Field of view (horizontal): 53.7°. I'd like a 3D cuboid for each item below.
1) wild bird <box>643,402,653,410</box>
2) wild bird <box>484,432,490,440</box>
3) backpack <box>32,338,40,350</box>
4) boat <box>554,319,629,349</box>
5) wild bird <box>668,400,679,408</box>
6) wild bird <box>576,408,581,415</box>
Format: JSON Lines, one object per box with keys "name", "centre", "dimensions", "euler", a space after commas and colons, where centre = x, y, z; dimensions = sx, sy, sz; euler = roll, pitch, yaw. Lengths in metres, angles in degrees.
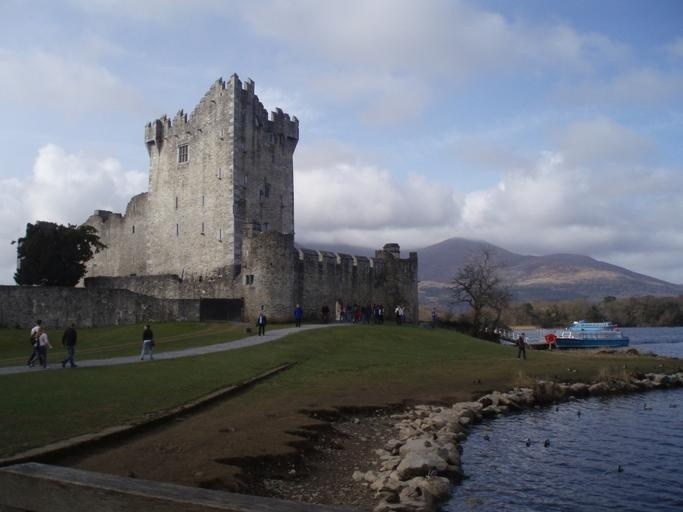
{"name": "wild bird", "centre": [15.683, 7.636, 34.629], "dimensions": [0.264, 0.370, 0.895], "euler": [-5, -9, 26]}
{"name": "wild bird", "centre": [6.182, 7.617, 28.761], "dimensions": [0.176, 0.314, 0.178], "euler": [0, -1, 35]}
{"name": "backpack", "centre": [-15.329, 4.307, 33.868], "dimensions": [0.190, 0.483, 0.745], "euler": [5, 2, -39]}
{"name": "boat", "centre": [31.083, 9.887, 84.001], "dimensions": [6.335, 3.435, 11.118], "euler": [7, 2, 33]}
{"name": "wild bird", "centre": [17.393, 7.669, 35.359], "dimensions": [0.317, 0.197, 0.607], "euler": [-3, -1, 15]}
{"name": "wild bird", "centre": [11.412, 7.475, 32.745], "dimensions": [0.172, 0.203, 0.361], "euler": [16, 2, 22]}
